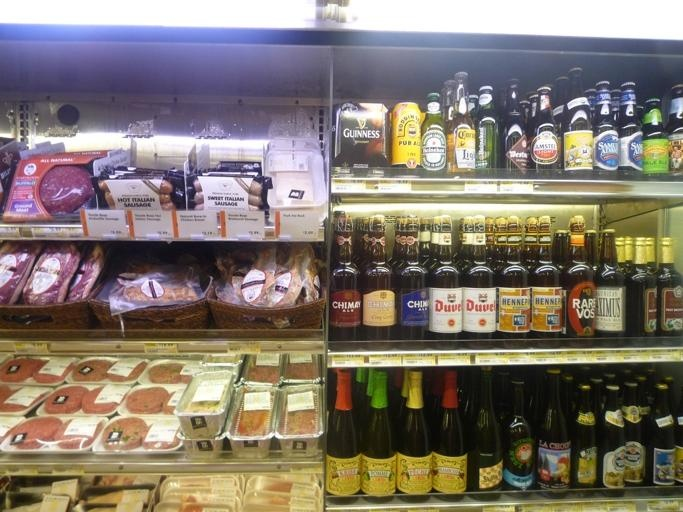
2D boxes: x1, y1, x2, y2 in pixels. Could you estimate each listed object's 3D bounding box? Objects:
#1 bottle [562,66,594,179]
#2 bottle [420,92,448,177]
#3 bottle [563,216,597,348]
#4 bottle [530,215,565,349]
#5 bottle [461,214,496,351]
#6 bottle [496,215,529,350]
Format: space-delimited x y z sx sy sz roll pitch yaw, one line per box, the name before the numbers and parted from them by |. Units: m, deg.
bottle | 1.127 -0.651 2.777 0.132 0.478 0.252 0 13 21
bottle | 0.434 -0.587 2.760 0.123 0.358 0.182 -3 13 10
bottle | 1.112 0.096 2.726 0.140 0.546 0.153 -5 12 1
bottle | 0.972 0.106 2.780 0.155 0.577 0.153 -3 2 0
bottle | 0.634 0.098 2.729 0.160 0.561 0.190 -2 13 13
bottle | 0.784 0.105 2.722 0.150 0.552 0.153 -5 12 1
